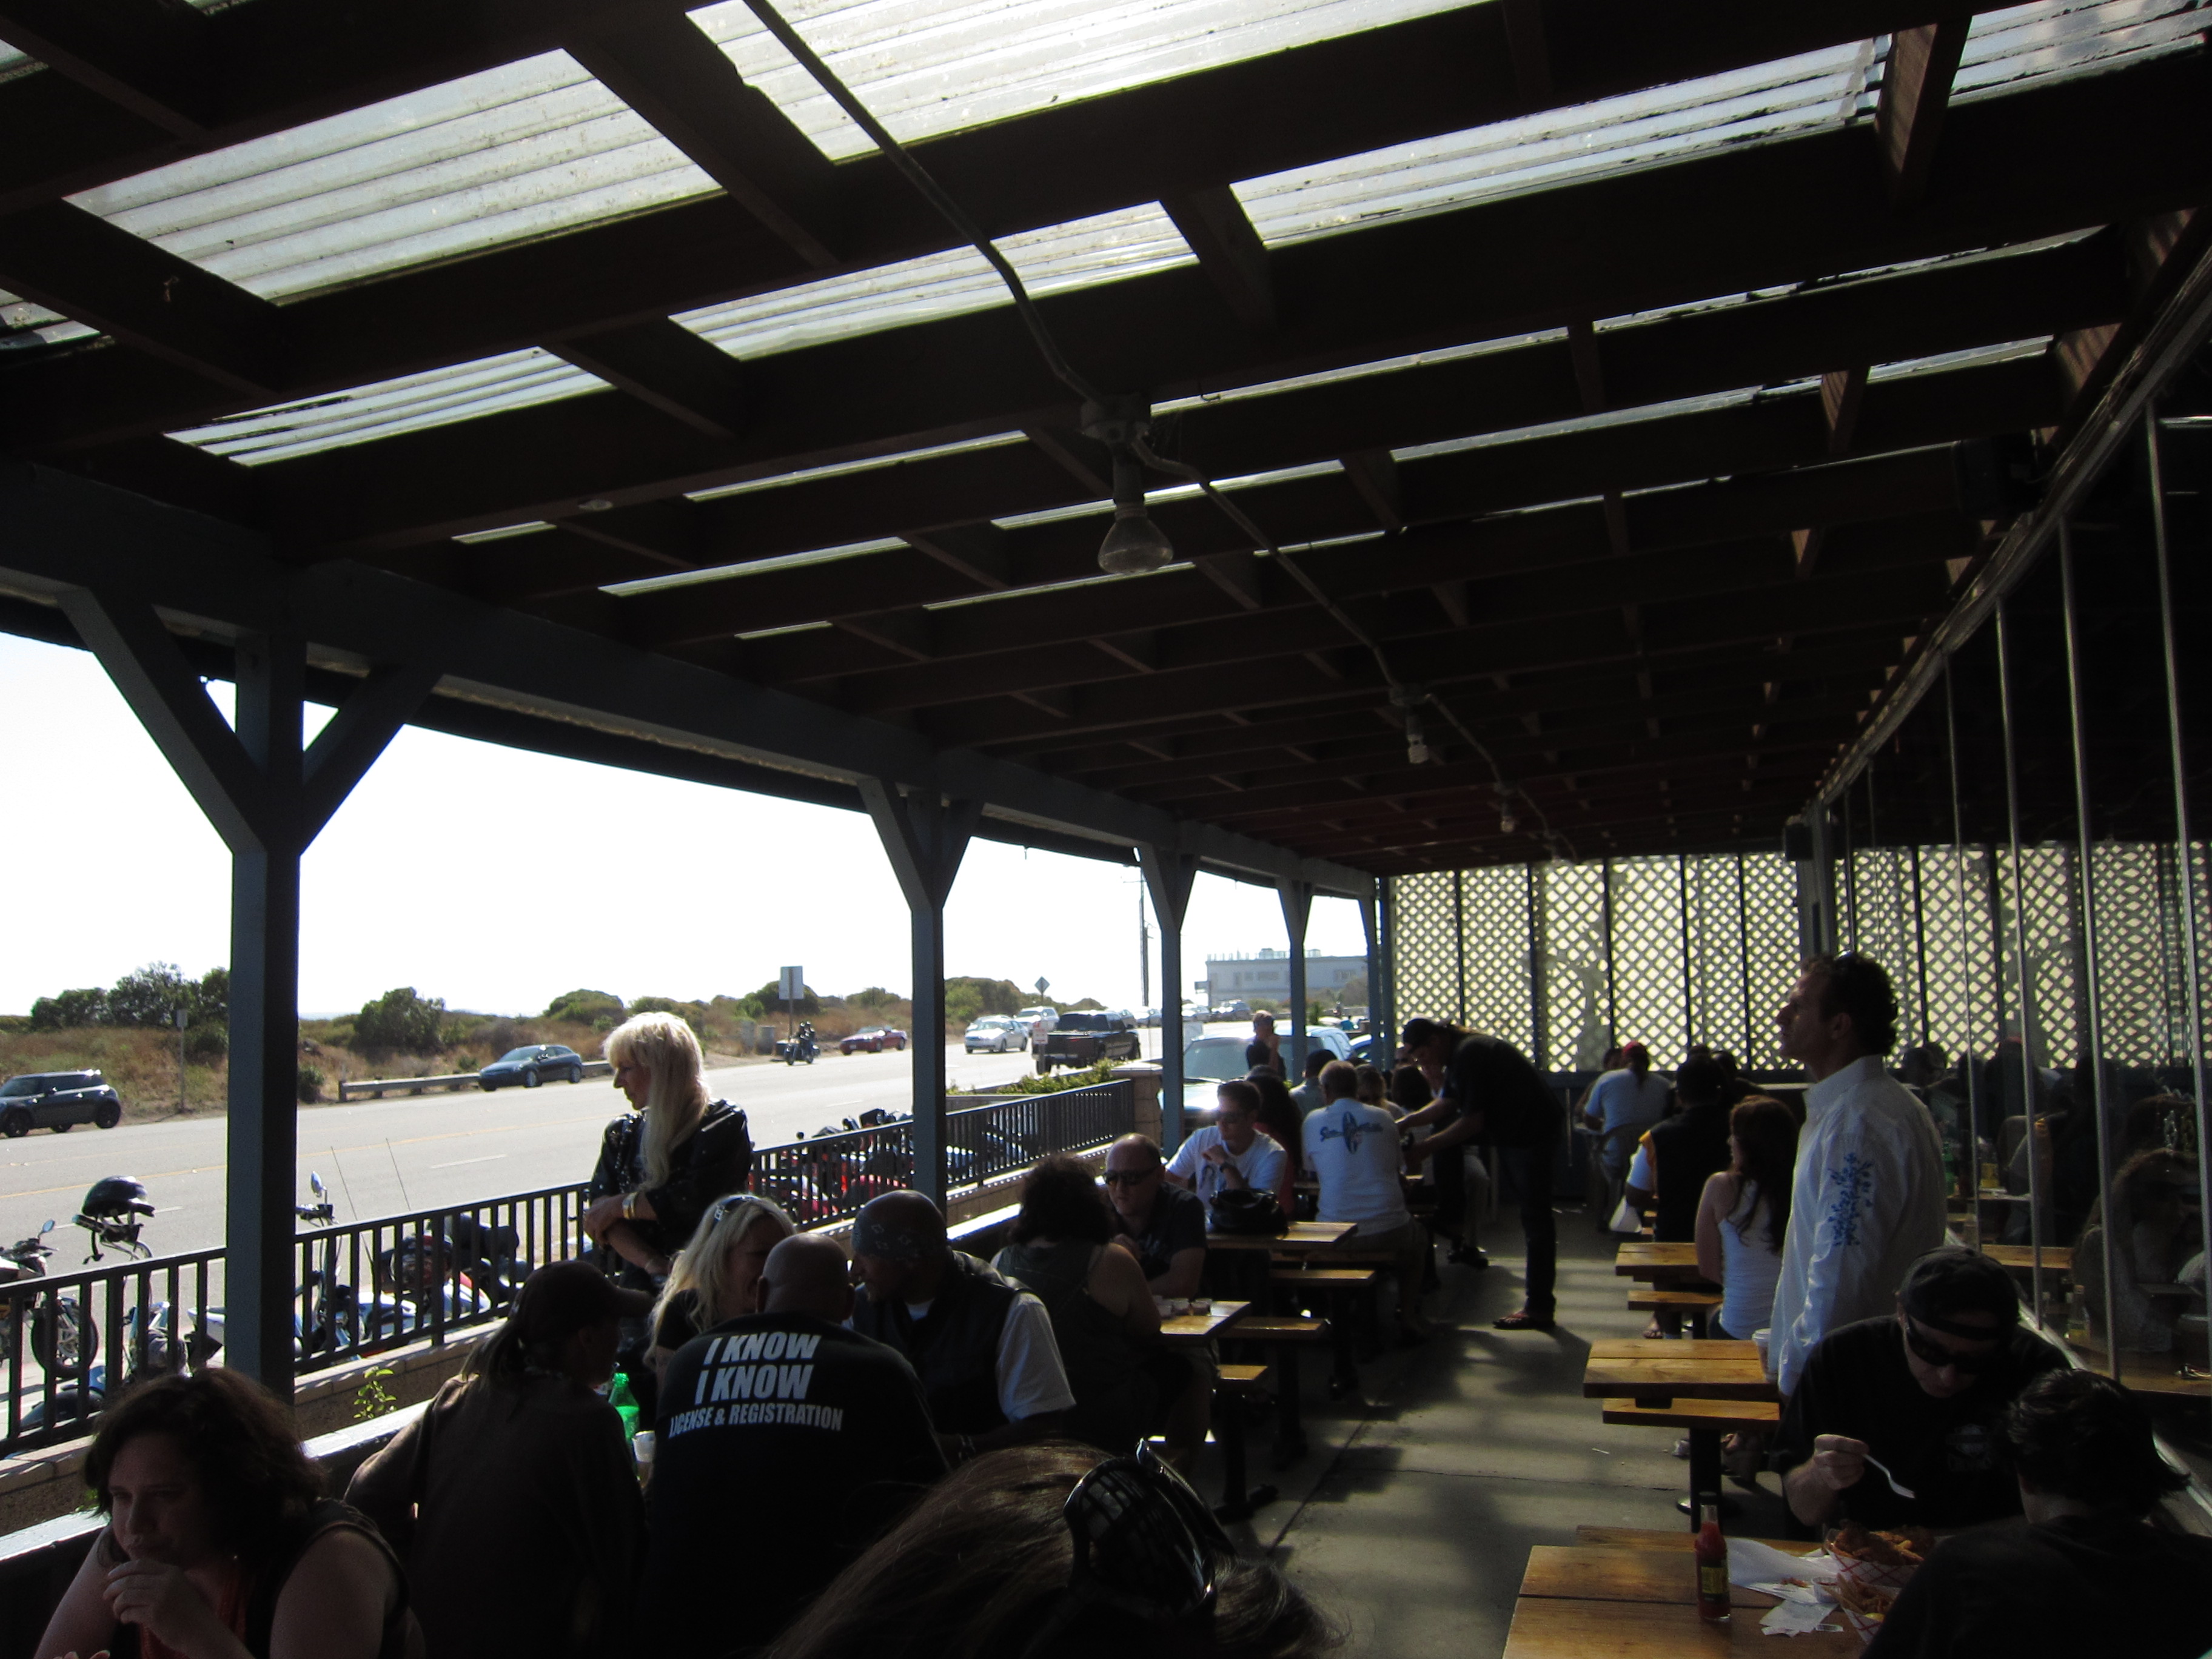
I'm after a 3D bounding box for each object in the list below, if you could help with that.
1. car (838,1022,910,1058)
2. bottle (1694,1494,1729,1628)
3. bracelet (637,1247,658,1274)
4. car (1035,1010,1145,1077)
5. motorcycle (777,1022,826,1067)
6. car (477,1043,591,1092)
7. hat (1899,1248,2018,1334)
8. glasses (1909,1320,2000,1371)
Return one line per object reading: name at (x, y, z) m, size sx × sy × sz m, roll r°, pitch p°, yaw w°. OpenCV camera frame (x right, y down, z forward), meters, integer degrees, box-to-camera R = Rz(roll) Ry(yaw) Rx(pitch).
car at (-7.304, 6.401, 50.090) m, size 2.287 × 0.808 × 1.134 m, roll 1°, pitch -8°, yaw 4°
bottle at (1.227, 1.466, 3.271) m, size 0.060 × 0.174 × 0.195 m, roll -3°, pitch -4°, yaw 20°
bracelet at (-1.486, 1.379, 5.231) m, size 0.066 × 0.092 × 0.026 m, roll 7°, pitch -3°, yaw -16°
car at (-0.436, 4.731, 36.810) m, size 1.728 × 1.455 × 2.906 m, roll -3°, pitch -12°, yaw 14°
motorcycle at (-9.082, 6.275, 47.653) m, size 1.203 × 1.456 × 2.523 m, roll -4°, pitch -13°, yaw 10°
car at (-12.679, 5.183, 35.627) m, size 0.841 × 0.831 × 2.644 m, roll -3°, pitch -5°, yaw 18°
hat at (1.783, 0.969, 3.359) m, size 0.228 × 0.176 × 0.174 m, roll -3°, pitch -4°, yaw 14°
glasses at (1.732, 1.057, 3.317) m, size 0.110 × 0.036 × 0.116 m, roll 8°, pitch 12°, yaw 21°
